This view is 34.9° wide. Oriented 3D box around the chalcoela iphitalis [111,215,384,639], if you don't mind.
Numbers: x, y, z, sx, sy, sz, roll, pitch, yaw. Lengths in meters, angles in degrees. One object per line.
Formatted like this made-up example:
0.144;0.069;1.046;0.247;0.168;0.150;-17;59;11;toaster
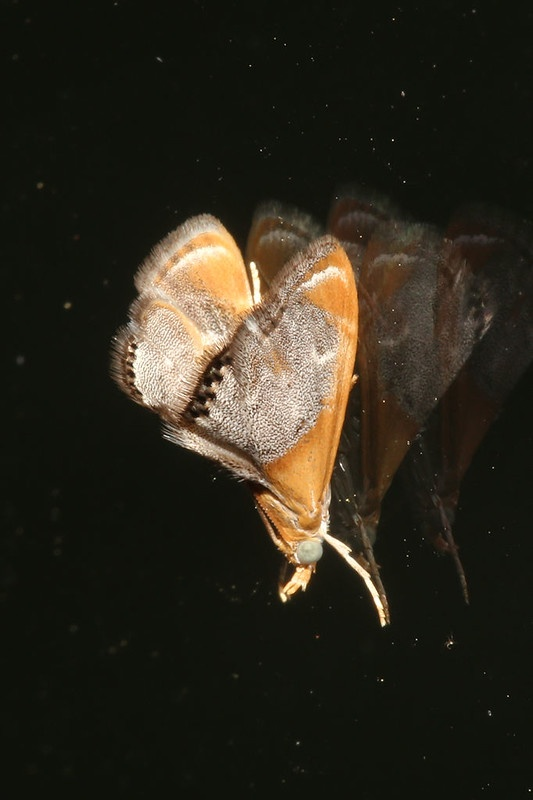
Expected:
-0.009;0.011;0.686;0.177;0.077;0.321;-11;88;11;chalcoela iphitalis
